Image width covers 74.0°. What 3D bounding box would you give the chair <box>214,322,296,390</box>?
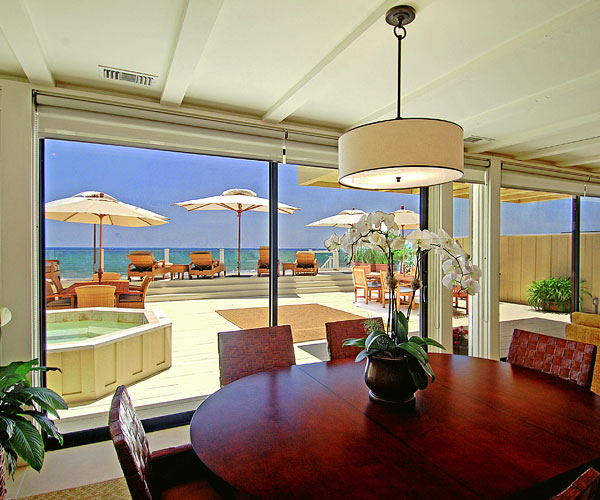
[{"bbox_3d":[-0.275,0.603,2.485,0.360,0.612,0.401,1,-5,-22],"label":"chair"}]

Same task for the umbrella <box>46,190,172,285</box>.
[{"bbox_3d":[-2.876,-0.324,5.933,1.643,1.087,1.601,0,-1,-11],"label":"umbrella"}]

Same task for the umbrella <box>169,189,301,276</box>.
[{"bbox_3d":[-1.567,-0.728,8.856,2.551,1.742,2.637,1,2,30],"label":"umbrella"}]

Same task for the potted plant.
[{"bbox_3d":[5.204,0.886,8.337,0.547,0.706,0.864,-7,6,-40],"label":"potted plant"}]

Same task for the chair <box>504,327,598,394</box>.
[{"bbox_3d":[1.552,0.574,2.442,0.283,0.460,0.470,12,-9,-31],"label":"chair"}]
